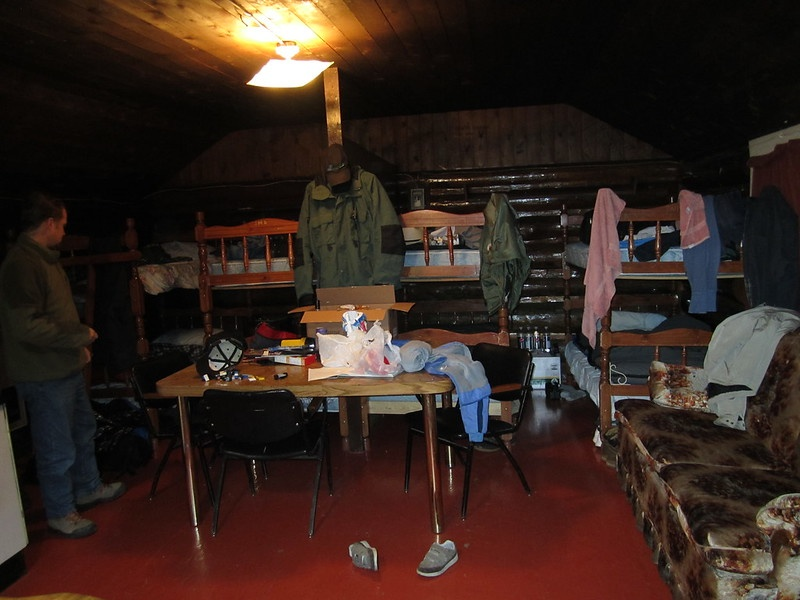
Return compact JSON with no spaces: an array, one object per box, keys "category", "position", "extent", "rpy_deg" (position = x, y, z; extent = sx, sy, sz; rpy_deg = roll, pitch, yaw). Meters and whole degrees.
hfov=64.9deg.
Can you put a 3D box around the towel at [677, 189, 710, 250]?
[{"category":"towel","position":[2.223,-0.627,4.787],"extent":[0.305,0.391,0.131],"rpy_deg":[-2,4,13]}]

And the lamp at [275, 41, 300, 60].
[{"category":"lamp","position":[-0.852,-1.933,4.908],"extent":[0.210,0.141,0.202],"rpy_deg":[-3,22,-4]}]

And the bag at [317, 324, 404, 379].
[{"category":"bag","position":[-0.264,0.314,3.939],"extent":[0.538,0.312,0.223],"rpy_deg":[-3,4,8]}]

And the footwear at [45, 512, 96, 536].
[{"category":"footwear","position":[-2.116,1.476,4.129],"extent":[0.306,0.129,0.128],"rpy_deg":[1,15,-1]}]

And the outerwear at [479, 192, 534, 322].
[{"category":"outerwear","position":[0.824,-0.383,5.209],"extent":[0.402,0.997,0.308],"rpy_deg":[-2,4,24]}]

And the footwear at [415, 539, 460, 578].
[{"category":"footwear","position":[0.216,1.497,3.659],"extent":[0.266,0.112,0.114],"rpy_deg":[-9,5,-42]}]

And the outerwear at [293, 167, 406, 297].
[{"category":"outerwear","position":[-0.448,-0.547,5.231],"extent":[0.943,1.111,0.248],"rpy_deg":[-3,4,11]}]

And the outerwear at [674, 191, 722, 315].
[{"category":"outerwear","position":[2.331,-0.387,4.966],"extent":[0.305,0.984,0.276],"rpy_deg":[-1,2,30]}]

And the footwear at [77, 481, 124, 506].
[{"category":"footwear","position":[-2.109,1.388,4.486],"extent":[0.290,0.121,0.104],"rpy_deg":[-14,31,-32]}]

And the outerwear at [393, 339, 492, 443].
[{"category":"outerwear","position":[0.266,0.458,3.917],"extent":[0.653,0.294,0.626],"rpy_deg":[18,11,9]}]

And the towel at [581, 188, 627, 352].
[{"category":"towel","position":[1.616,-0.257,5.125],"extent":[0.387,1.303,0.304],"rpy_deg":[-1,5,34]}]

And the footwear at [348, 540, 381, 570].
[{"category":"footwear","position":[-0.219,1.514,3.740],"extent":[0.176,0.136,0.217],"rpy_deg":[-4,3,-8]}]

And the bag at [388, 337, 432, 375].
[{"category":"bag","position":[0.058,0.334,3.952],"extent":[0.210,0.197,0.197],"rpy_deg":[8,13,-10]}]

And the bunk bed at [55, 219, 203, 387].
[{"category":"bunk bed","position":[-2.617,0.027,5.788],"extent":[0.928,1.180,1.652],"rpy_deg":[0,10,1]}]
